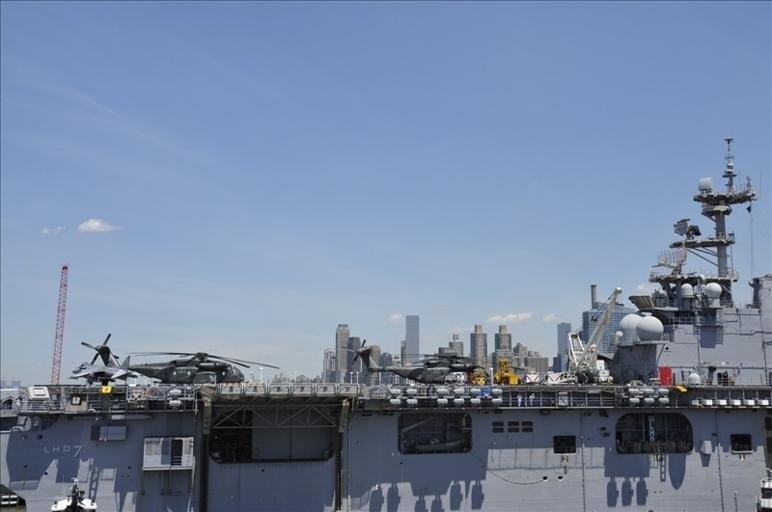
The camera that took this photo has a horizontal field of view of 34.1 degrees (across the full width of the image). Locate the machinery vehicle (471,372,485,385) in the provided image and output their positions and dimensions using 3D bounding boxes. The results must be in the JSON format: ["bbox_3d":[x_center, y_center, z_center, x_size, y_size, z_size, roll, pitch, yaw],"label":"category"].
[{"bbox_3d":[6.725,9.062,91.504,0.730,0.946,0.305,0,-57,5],"label":"machinery vehicle"}]

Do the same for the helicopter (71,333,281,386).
[{"bbox_3d":[-14.756,7.686,89.822,13.401,4.304,11.061,1,-2,0],"label":"helicopter"}]

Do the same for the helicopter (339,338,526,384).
[{"bbox_3d":[4.004,8.481,92.801,12.631,3.369,8.790,1,-10,4],"label":"helicopter"}]
